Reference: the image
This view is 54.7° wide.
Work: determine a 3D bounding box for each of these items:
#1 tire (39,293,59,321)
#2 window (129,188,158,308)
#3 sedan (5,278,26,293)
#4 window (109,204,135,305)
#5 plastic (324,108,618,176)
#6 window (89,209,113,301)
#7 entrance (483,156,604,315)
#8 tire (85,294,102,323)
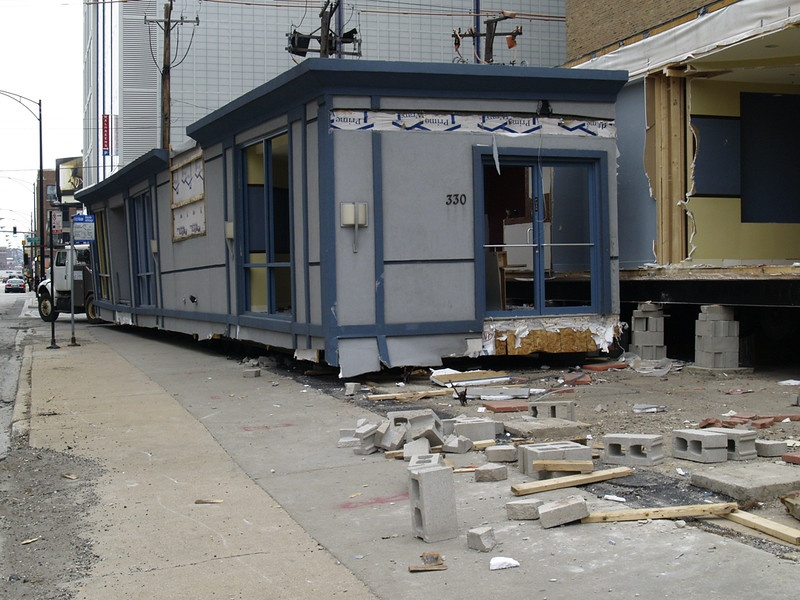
[{"bbox_3d":[-11.734,0.216,25.868,0.320,0.926,0.888,-3,10,-38],"label":"tire"},{"bbox_3d":[-6.629,-1.433,20.075,0.157,3.564,2.982,-2,4,-27],"label":"window"},{"bbox_3d":[-38.013,-1.439,76.600,1.334,1.010,3.017,-2,7,-23],"label":"sedan"},{"bbox_3d":[-8.216,-1.332,23.169,0.593,3.023,0.888,1,6,-10],"label":"window"},{"bbox_3d":[1.183,-2.463,11.756,4.527,0.821,0.190,-3,6,-15],"label":"plastic"},{"bbox_3d":[-9.087,-1.442,23.634,0.360,2.883,2.778,-2,4,-29],"label":"window"},{"bbox_3d":[2.715,-1.128,14.205,2.911,3.583,0.506,3,7,25],"label":"entrance"},{"bbox_3d":[-10.410,0.258,26.349,0.337,0.984,0.945,1,1,-36],"label":"tire"}]
